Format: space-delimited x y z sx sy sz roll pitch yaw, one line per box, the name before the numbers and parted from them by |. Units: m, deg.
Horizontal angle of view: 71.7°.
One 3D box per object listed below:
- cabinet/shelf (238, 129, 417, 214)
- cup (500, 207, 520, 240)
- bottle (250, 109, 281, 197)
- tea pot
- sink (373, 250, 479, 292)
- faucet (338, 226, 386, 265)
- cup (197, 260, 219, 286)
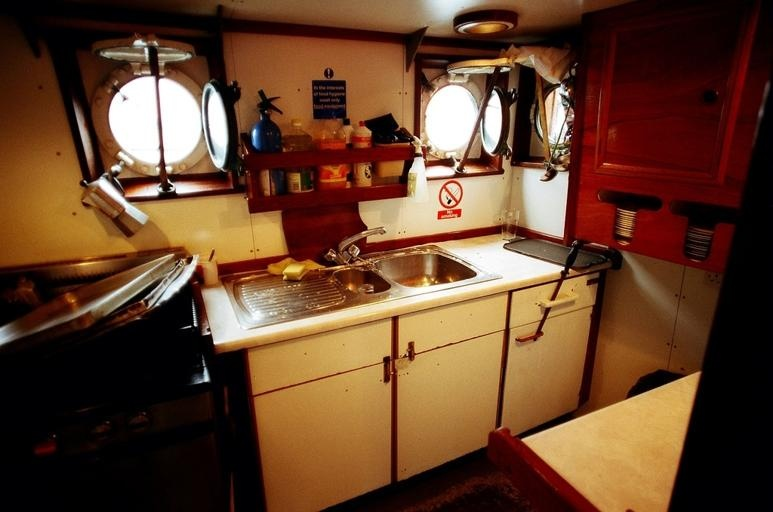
cabinet/shelf | -0.276 -0.438 2.848 0.829 0.263 0.252 -5 -6 3
cup | 0.834 -0.227 3.652 0.130 0.213 0.130 0 23 0
bottle | -0.608 -0.527 2.722 0.149 0.427 0.177 -7 19 -12
tea pot | -1.333 -0.234 2.625 0.275 0.335 0.174 -11 20 -22
sink | 0.184 0.092 3.195 0.356 0.129 0.294 -13 30 -26
faucet | -0.150 -0.089 3.126 0.280 0.195 0.250 -4 19 -3
cup | -0.941 0.093 2.821 0.097 0.132 0.069 -10 20 -19
